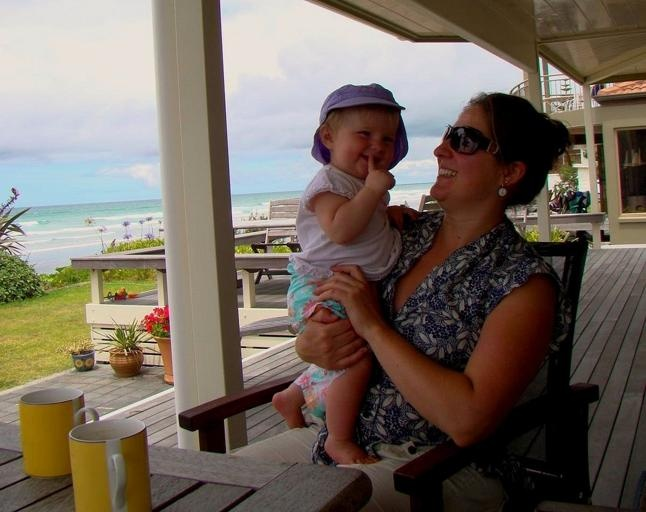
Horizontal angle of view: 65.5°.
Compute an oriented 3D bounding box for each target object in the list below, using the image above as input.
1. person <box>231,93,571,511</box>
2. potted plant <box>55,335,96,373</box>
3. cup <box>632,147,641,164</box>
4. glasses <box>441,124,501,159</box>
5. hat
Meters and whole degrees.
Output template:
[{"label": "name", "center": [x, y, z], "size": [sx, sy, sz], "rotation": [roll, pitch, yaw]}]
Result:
[{"label": "person", "center": [0.380, 0.134, 1.634], "size": [1.047, 1.338, 0.639], "rotation": [-7, 5, -19]}, {"label": "potted plant", "center": [-4.272, 1.704, 8.735], "size": [0.671, 0.535, 0.678], "rotation": [0, 5, -8]}, {"label": "cup", "center": [6.699, -2.121, 10.725], "size": [0.159, 0.298, 0.102], "rotation": [-3, 6, 35]}, {"label": "glasses", "center": [0.490, -0.362, 1.658], "size": [0.132, 0.038, 0.111], "rotation": [14, 3, -26]}, {"label": "hat", "center": [0.124, -0.518, 1.861], "size": [0.299, 0.188, 0.365], "rotation": [-3, -38, 1]}]
